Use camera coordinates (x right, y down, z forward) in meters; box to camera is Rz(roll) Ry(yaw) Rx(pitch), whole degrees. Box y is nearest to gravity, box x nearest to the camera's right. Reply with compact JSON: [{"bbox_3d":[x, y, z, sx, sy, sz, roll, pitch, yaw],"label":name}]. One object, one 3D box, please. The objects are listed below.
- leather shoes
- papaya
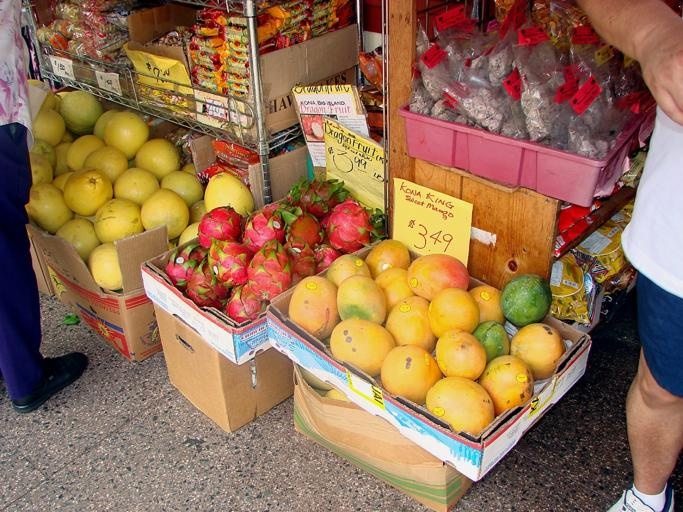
[{"bbox_3d":[-1.397,0.590,2.234,0.137,0.168,0.366,26,48,23],"label":"leather shoes"},{"bbox_3d":[0.258,0.230,1.514,0.546,0.263,0.728,-35,49,-27],"label":"papaya"}]
